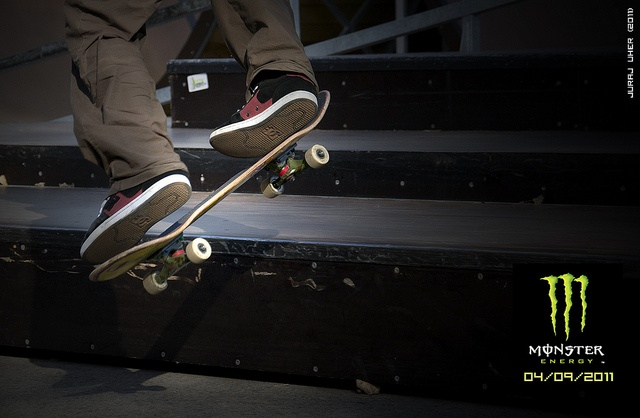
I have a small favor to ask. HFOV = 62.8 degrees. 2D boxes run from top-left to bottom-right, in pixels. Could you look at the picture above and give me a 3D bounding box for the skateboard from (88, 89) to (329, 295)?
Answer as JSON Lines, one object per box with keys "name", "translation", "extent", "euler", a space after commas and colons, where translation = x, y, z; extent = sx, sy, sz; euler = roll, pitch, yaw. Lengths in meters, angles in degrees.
{"name": "skateboard", "translation": [-0.378, -0.038, 1.816], "extent": [0.155, 1.027, 0.272], "euler": [55, -14, -8]}
